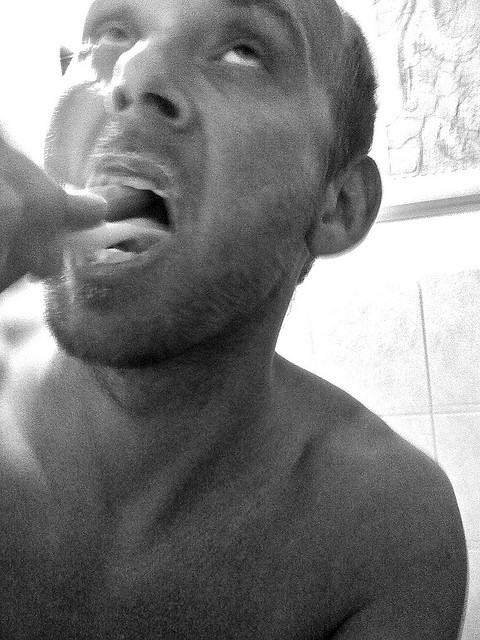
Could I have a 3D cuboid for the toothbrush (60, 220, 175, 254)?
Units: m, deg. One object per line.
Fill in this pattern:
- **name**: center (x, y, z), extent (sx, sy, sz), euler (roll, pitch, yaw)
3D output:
- **toothbrush**: center (-0.100, -0.062, 0.651), extent (0.054, 0.100, 0.026), euler (-8, 89, 22)
